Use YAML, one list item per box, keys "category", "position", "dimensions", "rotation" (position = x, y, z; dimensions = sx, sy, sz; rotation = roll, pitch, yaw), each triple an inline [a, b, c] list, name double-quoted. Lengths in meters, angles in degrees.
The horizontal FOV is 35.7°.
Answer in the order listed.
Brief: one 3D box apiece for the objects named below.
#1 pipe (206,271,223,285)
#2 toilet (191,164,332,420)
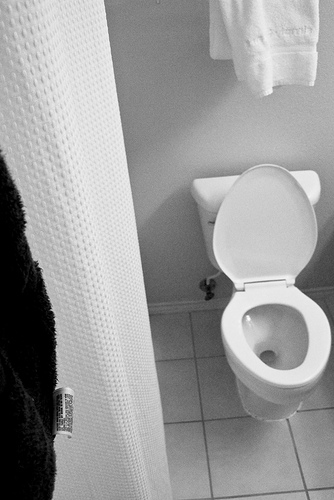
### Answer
- category: "pipe"
  position: [0.175, 0.105, 1.936]
  dimensions: [0.067, 0.022, 0.016]
  rotation: [-30, 50, 27]
- category: "toilet"
  position: [0.288, 0.128, 1.591]
  dimensions: [0.417, 0.705, 0.648]
  rotation: [-7, 55, 4]
